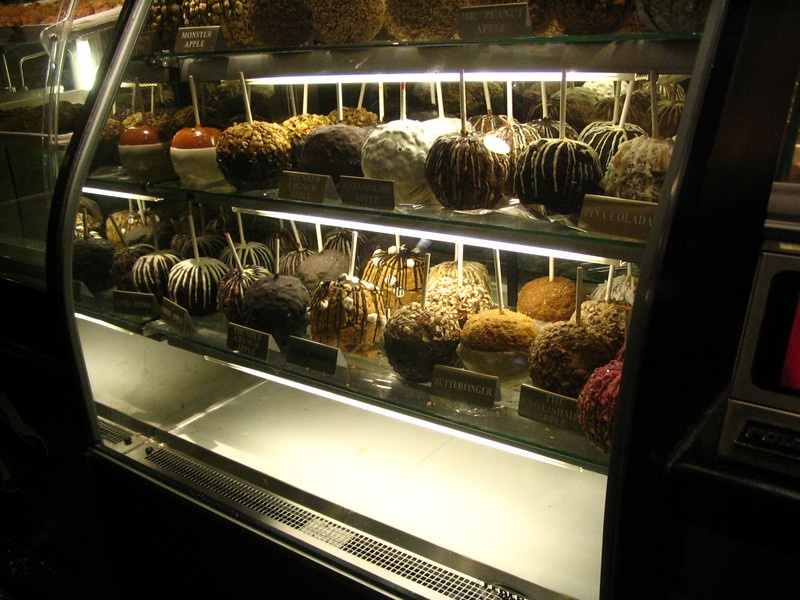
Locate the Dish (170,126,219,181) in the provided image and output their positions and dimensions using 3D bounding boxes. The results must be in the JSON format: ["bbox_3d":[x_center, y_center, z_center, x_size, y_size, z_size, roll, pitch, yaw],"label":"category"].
[{"bbox_3d":[-0.477,-0.337,1.446,0.136,0.121,0.130,-4,13,-6],"label":"Dish"}]

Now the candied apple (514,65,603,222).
[{"bbox_3d":[0.284,-0.283,1.089,0.136,0.246,0.134,-10,13,-37],"label":"candied apple"}]

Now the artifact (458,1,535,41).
[{"bbox_3d":[0.160,-0.478,1.056,0.135,0.055,0.030,14,23,32],"label":"artifact"}]

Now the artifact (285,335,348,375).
[{"bbox_3d":[-0.188,0.120,1.363,0.164,0.058,0.047,9,22,39],"label":"artifact"}]

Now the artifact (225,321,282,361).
[{"bbox_3d":[-0.335,0.096,1.422,0.089,0.044,0.029,14,25,32],"label":"artifact"}]

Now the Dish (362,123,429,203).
[{"bbox_3d":[-0.037,-0.276,1.235,0.121,0.133,0.124,11,3,5],"label":"Dish"}]

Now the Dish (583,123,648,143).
[{"bbox_3d":[0.409,-0.321,1.174,0.080,0.022,0.078,3,19,13],"label":"Dish"}]

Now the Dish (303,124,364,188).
[{"bbox_3d":[-0.135,-0.310,1.322,0.123,0.085,0.127,7,17,37],"label":"Dish"}]

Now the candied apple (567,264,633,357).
[{"bbox_3d":[0.404,0.004,1.211,0.148,0.063,0.180,-12,21,15],"label":"candied apple"}]

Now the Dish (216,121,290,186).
[{"bbox_3d":[-0.330,-0.329,1.414,0.161,0.145,0.163,12,19,36],"label":"Dish"}]

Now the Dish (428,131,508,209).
[{"bbox_3d":[0.143,-0.235,1.191,0.179,0.167,0.179,0,27,13],"label":"Dish"}]

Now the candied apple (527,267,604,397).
[{"bbox_3d":[0.348,0.074,1.193,0.174,0.290,0.170,0,-25,23],"label":"candied apple"}]
